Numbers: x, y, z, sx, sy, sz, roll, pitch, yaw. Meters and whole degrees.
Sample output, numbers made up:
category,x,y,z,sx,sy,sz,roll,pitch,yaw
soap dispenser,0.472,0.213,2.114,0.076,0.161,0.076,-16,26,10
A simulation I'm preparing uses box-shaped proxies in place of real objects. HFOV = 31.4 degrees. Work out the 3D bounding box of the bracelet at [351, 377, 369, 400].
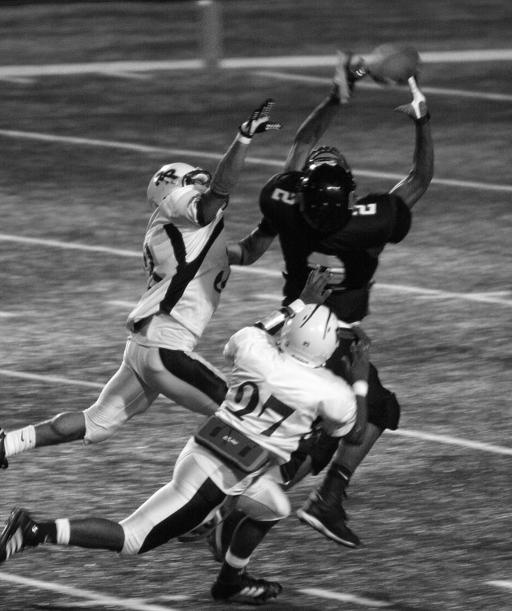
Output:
category,x,y,z,sx,sy,sz,roll,pitch,yaw
bracelet,0.451,0.360,3.934,0.086,0.046,0.076,1,42,-6

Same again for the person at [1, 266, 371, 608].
category,x,y,z,sx,sy,sz,roll,pitch,yaw
person,-0.091,0.553,3.638,0.752,1.348,1.471,16,15,39

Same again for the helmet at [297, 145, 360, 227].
category,x,y,z,sx,sy,sz,roll,pitch,yaw
helmet,0.305,-0.519,4.003,0.312,0.324,0.212,3,-9,1
